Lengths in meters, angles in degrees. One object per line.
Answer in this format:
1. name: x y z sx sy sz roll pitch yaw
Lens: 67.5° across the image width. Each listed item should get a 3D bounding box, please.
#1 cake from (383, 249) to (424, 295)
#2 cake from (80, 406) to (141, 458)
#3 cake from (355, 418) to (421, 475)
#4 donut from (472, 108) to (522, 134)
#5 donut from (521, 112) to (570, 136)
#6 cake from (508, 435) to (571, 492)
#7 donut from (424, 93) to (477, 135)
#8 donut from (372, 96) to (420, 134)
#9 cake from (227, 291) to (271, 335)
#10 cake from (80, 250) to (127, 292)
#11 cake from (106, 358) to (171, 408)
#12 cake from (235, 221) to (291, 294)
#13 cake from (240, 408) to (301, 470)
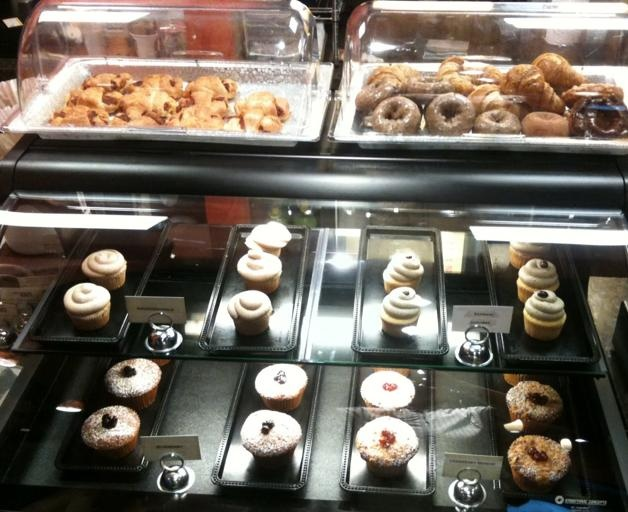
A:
1. cake: 0.297 0.057 1.627 0.138 0.116 0.132 4 18 3
2. cake: -0.755 0.655 1.764 0.186 0.086 0.188 29 35 25
3. cake: 0.256 0.668 1.674 0.202 0.106 0.188 -3 35 -2
4. donut: 0.625 -0.447 1.594 0.141 0.052 0.134 -26 44 -31
5. donut: 0.782 -0.439 1.588 0.154 0.052 0.109 12 38 15
6. cake: 0.793 0.729 1.672 0.193 0.089 0.186 -3 29 16
7. donut: 0.470 -0.480 1.616 0.160 0.103 0.155 31 46 34
8. donut: 0.288 -0.524 1.702 0.051 0.137 0.136 43 83 0
9. cake: -0.202 0.176 1.519 0.146 0.102 0.141 0 27 -6
10. cake: -0.728 0.048 1.641 0.152 0.110 0.137 -11 40 -22
11. cake: -0.666 0.491 1.791 0.214 0.139 0.207 7 27 12
12. cake: -0.168 -0.003 1.620 0.162 0.091 0.249 7 51 -4
13. cake: -0.182 0.679 1.744 0.212 0.128 0.210 -7 26 -33
